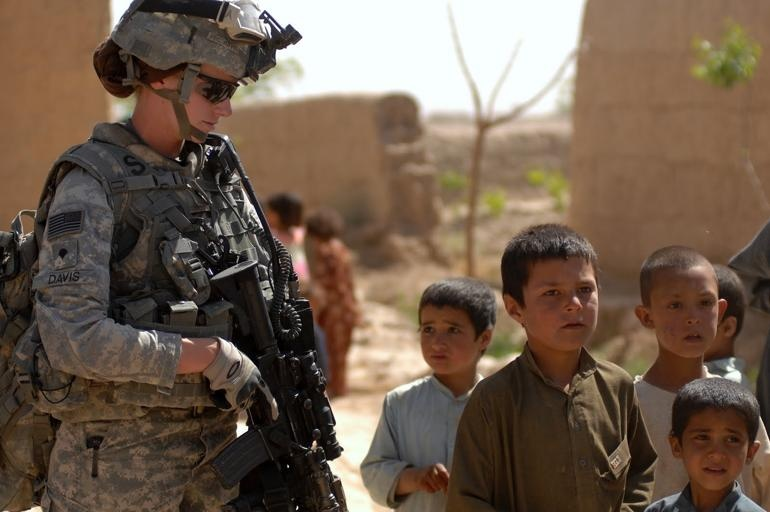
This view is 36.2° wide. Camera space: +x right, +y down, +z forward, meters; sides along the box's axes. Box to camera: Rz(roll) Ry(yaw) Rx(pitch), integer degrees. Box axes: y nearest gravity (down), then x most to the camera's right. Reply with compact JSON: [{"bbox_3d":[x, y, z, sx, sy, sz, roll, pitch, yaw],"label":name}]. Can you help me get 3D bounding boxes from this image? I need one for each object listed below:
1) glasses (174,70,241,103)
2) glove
[{"bbox_3d":[-0.874,-0.849,5.840,0.208,0.088,0.175,21,-3,37],"label":"glasses"},{"bbox_3d":[-0.735,0.616,5.824,0.434,0.264,0.168,53,-15,-27],"label":"glove"}]
